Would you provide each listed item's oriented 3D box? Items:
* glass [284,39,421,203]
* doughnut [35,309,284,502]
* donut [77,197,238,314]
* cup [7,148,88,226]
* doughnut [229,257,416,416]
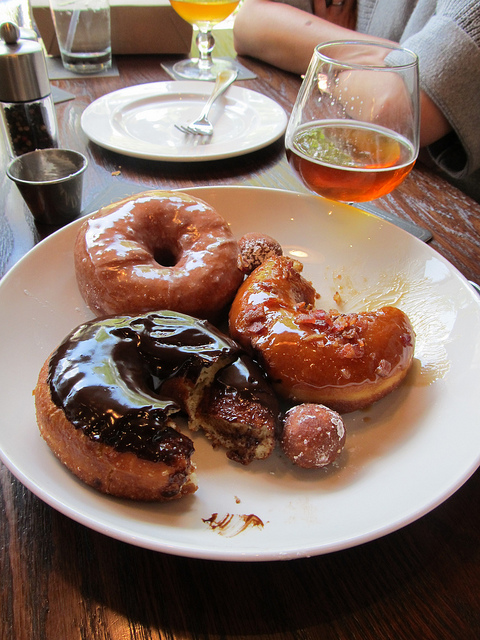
[{"bbox_3d":[0.153,-0.285,0.955,0.223,0.256,0.187,-12,44,-17],"label":"glass"},{"bbox_3d":[-0.093,0.077,0.703,0.270,0.085,0.247,-16,40,-26],"label":"doughnut"},{"bbox_3d":[-0.117,-0.091,0.844,0.196,0.074,0.193,-24,59,-28],"label":"donut"},{"bbox_3d":[-0.309,-0.223,0.993,0.155,0.097,0.135,-2,47,-8],"label":"cup"},{"bbox_3d":[0.095,0.003,0.803,0.205,0.070,0.260,-34,58,-28],"label":"doughnut"}]
